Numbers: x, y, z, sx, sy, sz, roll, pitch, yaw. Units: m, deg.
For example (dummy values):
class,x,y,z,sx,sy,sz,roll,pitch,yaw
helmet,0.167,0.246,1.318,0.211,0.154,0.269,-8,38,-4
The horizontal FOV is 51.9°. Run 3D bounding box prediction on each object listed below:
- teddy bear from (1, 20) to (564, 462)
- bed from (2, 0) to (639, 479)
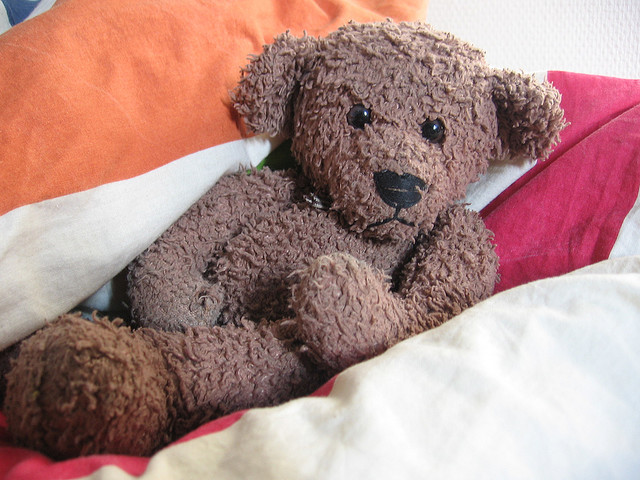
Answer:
class,x,y,z,sx,sy,sz,roll,pitch,yaw
teddy bear,0.002,0.077,1.047,0.514,0.380,0.796,24,48,27
bed,-0.008,0.004,1.042,0.699,0.258,0.828,4,65,9
